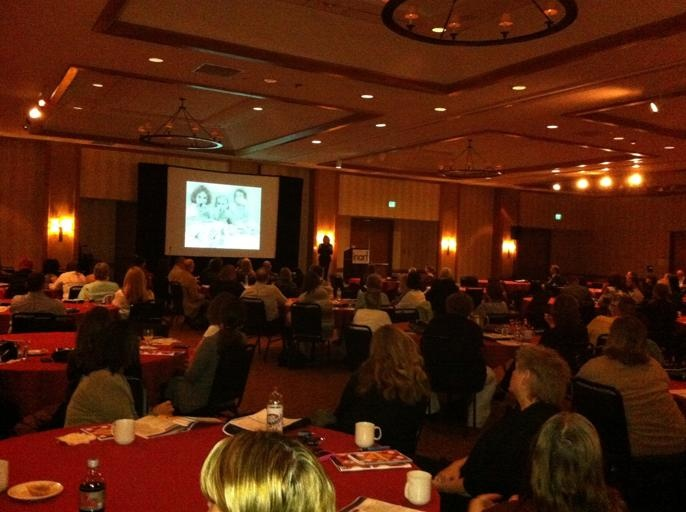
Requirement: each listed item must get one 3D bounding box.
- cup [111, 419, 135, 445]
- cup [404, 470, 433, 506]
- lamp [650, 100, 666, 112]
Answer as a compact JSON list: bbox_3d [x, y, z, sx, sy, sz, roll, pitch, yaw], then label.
[{"bbox_3d":[-1.066,0.847,2.643,0.131,0.108,0.093,0,-2,9],"label":"cup"},{"bbox_3d":[0.316,0.943,2.246,0.121,0.138,0.095,3,0,-5],"label":"cup"},{"bbox_3d":[4.610,-2.213,8.003,0.065,0.234,0.258,10,4,16],"label":"lamp"}]
